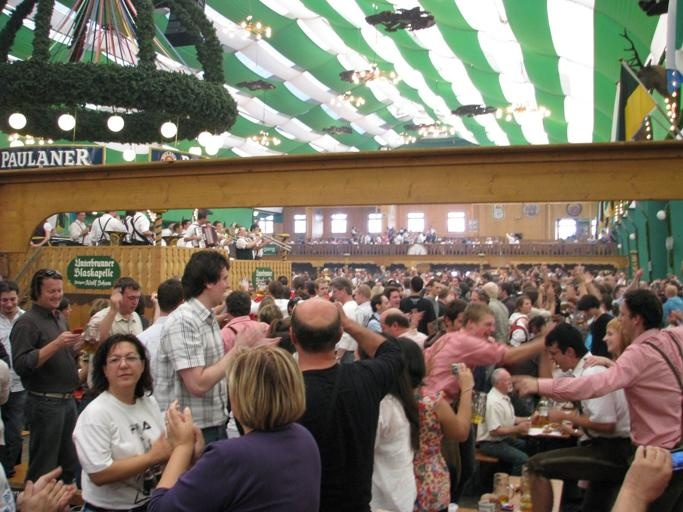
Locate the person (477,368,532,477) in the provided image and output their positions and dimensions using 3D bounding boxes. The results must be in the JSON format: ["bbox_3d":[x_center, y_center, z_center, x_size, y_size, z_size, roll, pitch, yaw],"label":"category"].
[{"bbox_3d":[1.824,1.941,6.215,0.709,1.345,0.606,-1,-5,23],"label":"person"}]

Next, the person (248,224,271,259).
[{"bbox_3d":[-2.457,-0.469,17.478,0.355,1.580,0.522,-17,-28,-6],"label":"person"}]

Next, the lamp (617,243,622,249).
[{"bbox_3d":[14.129,-0.506,28.772,0.238,0.190,0.240,3,5,-9],"label":"lamp"}]

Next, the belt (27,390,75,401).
[{"bbox_3d":[-2.740,1.327,5.398,0.179,0.057,0.181,-4,-8,41],"label":"belt"}]

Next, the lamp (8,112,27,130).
[{"bbox_3d":[-6.395,-2.686,11.185,0.228,0.249,0.503,2,-2,-26],"label":"lamp"}]

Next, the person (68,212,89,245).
[{"bbox_3d":[-5.630,-0.603,12.155,0.358,0.796,3.019,2,-2,-26],"label":"person"}]

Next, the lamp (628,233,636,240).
[{"bbox_3d":[10.642,-0.705,20.672,0.289,0.311,0.077,10,6,22],"label":"lamp"}]

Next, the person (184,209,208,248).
[{"bbox_3d":[-3.168,-0.599,12.267,0.488,0.861,1.293,2,-2,-14],"label":"person"}]

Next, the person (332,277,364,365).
[{"bbox_3d":[0.067,0.671,5.884,0.255,0.388,0.850,-12,25,5],"label":"person"}]

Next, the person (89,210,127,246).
[{"bbox_3d":[-4.258,-0.481,10.361,0.683,0.662,0.395,0,2,14],"label":"person"}]

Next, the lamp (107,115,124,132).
[{"bbox_3d":[-4.498,-2.672,11.276,0.235,0.369,0.575,2,-2,-19],"label":"lamp"}]

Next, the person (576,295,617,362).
[{"bbox_3d":[3.381,1.201,7.521,0.434,1.380,0.481,-2,9,9],"label":"person"}]

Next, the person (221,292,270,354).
[{"bbox_3d":[-0.863,0.526,5.144,0.297,0.256,0.772,11,24,4],"label":"person"}]

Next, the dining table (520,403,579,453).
[{"bbox_3d":[2.286,1.834,6.048,0.490,0.286,1.195,-14,-4,30],"label":"dining table"}]
